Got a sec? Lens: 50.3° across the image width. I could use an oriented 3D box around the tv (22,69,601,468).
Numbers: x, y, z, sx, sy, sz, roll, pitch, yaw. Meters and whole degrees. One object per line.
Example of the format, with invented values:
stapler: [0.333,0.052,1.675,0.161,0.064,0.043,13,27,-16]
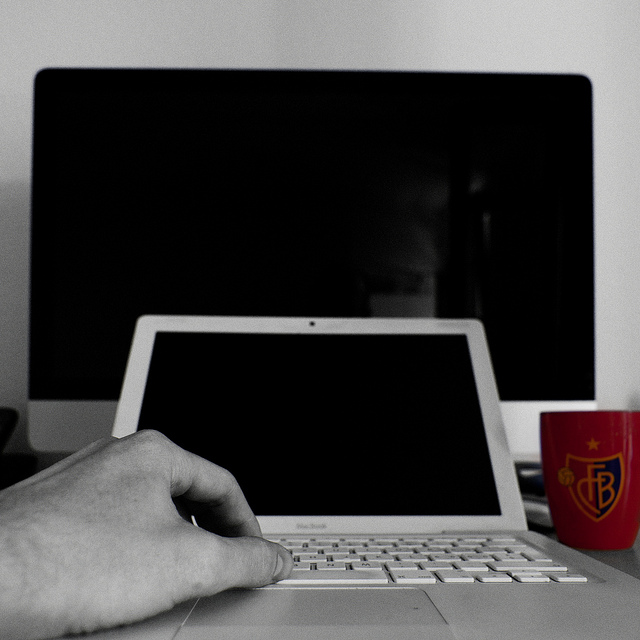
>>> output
tv: [-0.029,-0.061,0.867,0.560,0.485,0.153,2,-4,-2]
